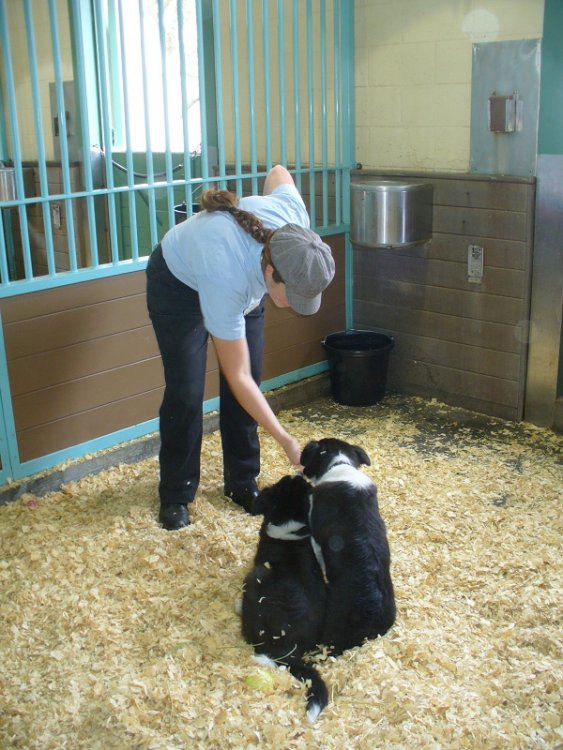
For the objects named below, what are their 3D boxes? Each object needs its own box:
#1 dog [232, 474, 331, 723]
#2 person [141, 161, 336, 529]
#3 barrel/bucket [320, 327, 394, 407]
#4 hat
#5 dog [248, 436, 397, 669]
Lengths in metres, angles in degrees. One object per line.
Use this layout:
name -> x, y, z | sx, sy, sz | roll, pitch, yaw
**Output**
dog -> -0.012, 0.528, 1.482 | 0.150, 0.223, 0.513 | 6, 52, -12
person -> -0.159, 0.021, 1.957 | 0.432, 1.249, 0.881 | -7, 44, -25
barrel/bucket -> 0.461, -0.019, 3.530 | 0.409, 0.354, 0.412 | -2, 13, 0
hat -> 0.052, -0.260, 1.443 | 0.140, 0.223, 0.164 | -5, 9, -22
dog -> 0.101, 0.410, 1.458 | 0.170, 0.547, 0.276 | -2, -27, -4
